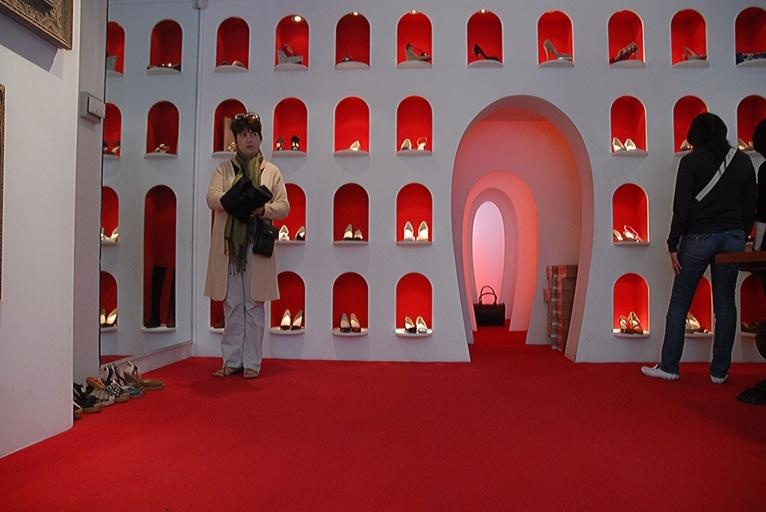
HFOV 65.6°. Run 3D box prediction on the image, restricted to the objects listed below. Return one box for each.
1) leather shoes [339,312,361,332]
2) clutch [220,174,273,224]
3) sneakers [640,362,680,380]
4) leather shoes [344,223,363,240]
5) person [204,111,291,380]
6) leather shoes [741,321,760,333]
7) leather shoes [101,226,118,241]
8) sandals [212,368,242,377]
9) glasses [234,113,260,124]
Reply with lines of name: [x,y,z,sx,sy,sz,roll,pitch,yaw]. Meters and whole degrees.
leather shoes: [-0.354,0.726,6.434,0.232,0.175,0.390,2,-1,-4]
clutch: [-1.299,-0.534,5.517,0.440,0.194,0.437,-27,-22,24]
sneakers: [2.637,1.109,5.672,0.339,0.180,0.127,9,3,40]
leather shoes: [-0.324,-0.261,6.493,0.221,0.188,0.366,2,-1,-3]
person: [-1.293,-0.103,5.620,0.743,2.515,0.546,2,-2,-21]
leather shoes: [3.774,0.742,6.107,0.143,0.094,0.228,3,0,13]
leather shoes: [-2.423,-0.195,5.259,0.061,0.121,0.110,-1,-3,36]
sandals: [-1.485,1.119,5.656,0.091,0.078,0.256,-4,-14,18]
glasses: [-1.290,-1.302,5.618,0.163,0.064,0.188,0,4,-4]
